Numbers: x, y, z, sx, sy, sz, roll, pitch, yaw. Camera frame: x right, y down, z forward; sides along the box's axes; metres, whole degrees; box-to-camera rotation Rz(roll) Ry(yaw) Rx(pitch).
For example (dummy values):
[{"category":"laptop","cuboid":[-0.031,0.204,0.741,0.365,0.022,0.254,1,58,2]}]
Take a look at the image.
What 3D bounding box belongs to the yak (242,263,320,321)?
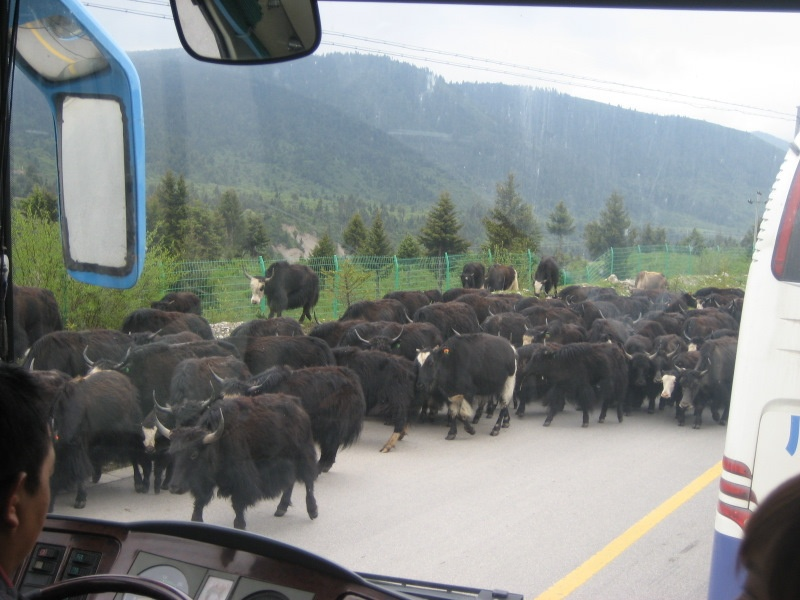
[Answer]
[{"category":"yak","cuboid":[-2.641,-0.173,16.906,0.629,1.376,1.946,3,3,43]}]
